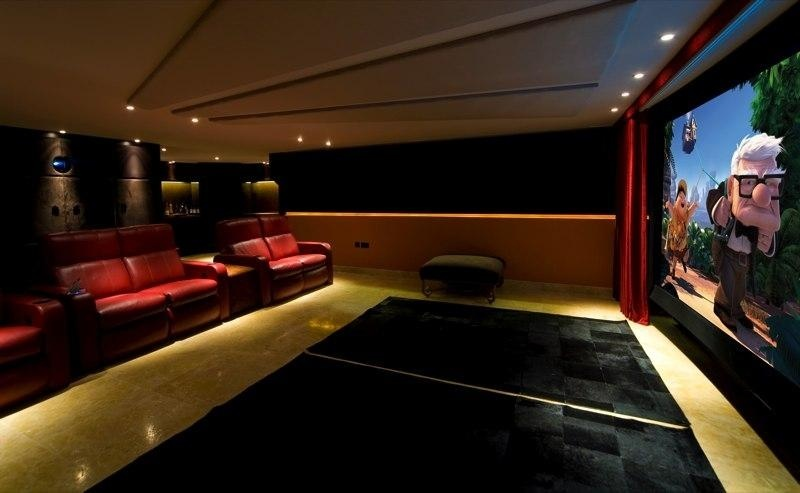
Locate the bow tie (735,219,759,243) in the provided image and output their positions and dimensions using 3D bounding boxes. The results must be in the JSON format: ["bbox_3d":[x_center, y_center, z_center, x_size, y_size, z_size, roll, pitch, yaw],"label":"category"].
[{"bbox_3d":[3.427,-0.144,4.223,0.177,0.155,0.136,-6,6,42],"label":"bow tie"}]

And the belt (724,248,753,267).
[{"bbox_3d":[3.429,0.105,4.313,0.171,0.086,0.227,3,9,23],"label":"belt"}]

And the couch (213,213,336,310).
[{"bbox_3d":[-2.063,0.138,7.168,1.230,1.115,1.666,9,14,30],"label":"couch"}]

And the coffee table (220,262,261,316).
[{"bbox_3d":[-2.560,0.629,6.250,0.587,0.753,0.792,-7,-6,17],"label":"coffee table"}]

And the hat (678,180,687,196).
[{"bbox_3d":[3.460,-0.710,5.236,0.099,0.156,0.111,13,14,32],"label":"hat"}]

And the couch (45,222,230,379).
[{"bbox_3d":[-3.351,0.489,5.512,1.121,1.318,1.922,10,14,25],"label":"couch"}]
